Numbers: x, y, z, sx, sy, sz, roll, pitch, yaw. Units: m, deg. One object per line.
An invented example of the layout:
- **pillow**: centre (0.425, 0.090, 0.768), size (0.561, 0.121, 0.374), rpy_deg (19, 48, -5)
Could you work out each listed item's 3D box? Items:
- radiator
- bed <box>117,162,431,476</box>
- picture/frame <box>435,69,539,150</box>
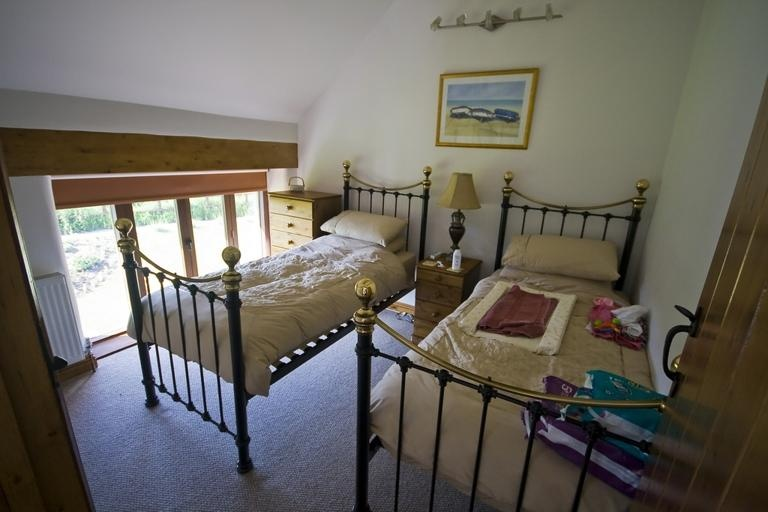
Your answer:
- **radiator**: centre (-2.342, 0.481, 3.555), size (0.064, 0.653, 0.359), rpy_deg (-7, 5, 4)
- **bed**: centre (-0.848, 0.295, 4.429), size (1.742, 1.955, 2.745), rpy_deg (10, 21, 28)
- **picture/frame**: centre (0.884, -1.227, 4.143), size (0.696, 0.527, 0.026), rpy_deg (9, 22, 22)
